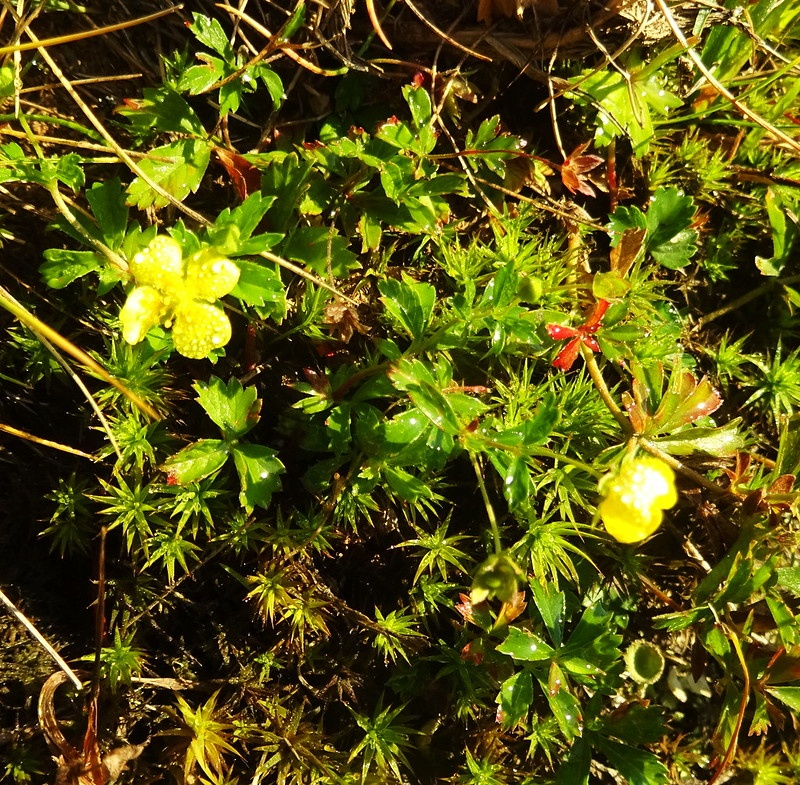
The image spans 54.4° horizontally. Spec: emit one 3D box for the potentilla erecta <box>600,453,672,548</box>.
[{"bbox_3d":[0.452,0.204,1.492,0.156,0.131,0.135,-28,86,-3],"label":"potentilla erecta"}]

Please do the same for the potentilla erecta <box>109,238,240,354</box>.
[{"bbox_3d":[-0.463,-0.175,1.540,0.237,0.224,0.064,-39,78,23],"label":"potentilla erecta"}]
